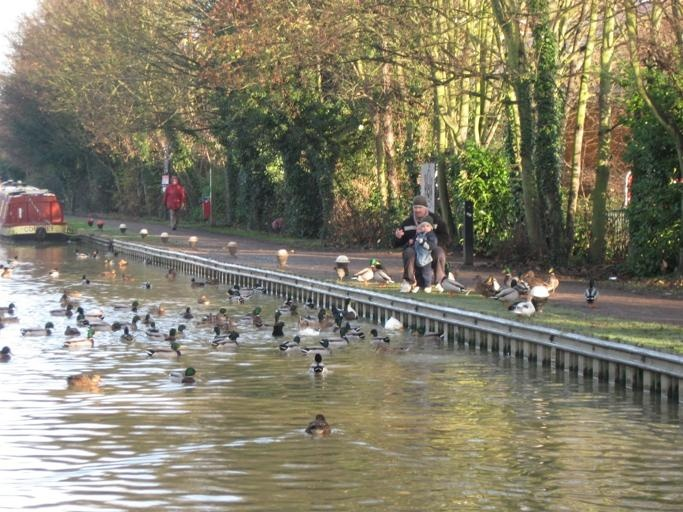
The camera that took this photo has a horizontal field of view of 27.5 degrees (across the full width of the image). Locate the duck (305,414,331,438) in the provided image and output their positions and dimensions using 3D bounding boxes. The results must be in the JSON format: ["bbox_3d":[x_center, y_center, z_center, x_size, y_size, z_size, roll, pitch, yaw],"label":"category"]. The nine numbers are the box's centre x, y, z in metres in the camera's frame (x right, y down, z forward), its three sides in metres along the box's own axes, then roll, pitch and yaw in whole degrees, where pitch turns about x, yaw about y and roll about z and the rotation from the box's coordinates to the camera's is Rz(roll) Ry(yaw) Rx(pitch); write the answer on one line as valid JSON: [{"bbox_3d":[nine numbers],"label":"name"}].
[{"bbox_3d":[-0.448,4.017,32.970,0.391,0.253,0.600,2,10,1],"label":"duck"}]

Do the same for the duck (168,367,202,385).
[{"bbox_3d":[-3.990,3.155,36.401,0.688,0.457,1.100,0,-4,-6],"label":"duck"}]

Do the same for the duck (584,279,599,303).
[{"bbox_3d":[7.613,1.130,42.357,0.270,0.559,0.360,4,-17,14],"label":"duck"}]

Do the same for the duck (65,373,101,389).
[{"bbox_3d":[-6.441,3.236,35.653,0.815,0.403,0.602,0,-4,-12],"label":"duck"}]

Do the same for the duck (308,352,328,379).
[{"bbox_3d":[-0.511,2.927,36.864,0.379,0.417,0.626,3,19,-1],"label":"duck"}]

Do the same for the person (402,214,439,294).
[{"bbox_3d":[2.637,0.118,43.710,0.999,2.086,1.368,0,-4,-6],"label":"person"}]
